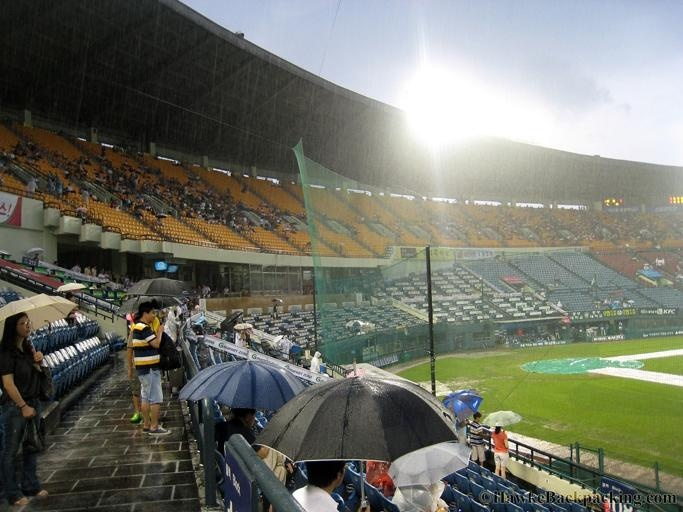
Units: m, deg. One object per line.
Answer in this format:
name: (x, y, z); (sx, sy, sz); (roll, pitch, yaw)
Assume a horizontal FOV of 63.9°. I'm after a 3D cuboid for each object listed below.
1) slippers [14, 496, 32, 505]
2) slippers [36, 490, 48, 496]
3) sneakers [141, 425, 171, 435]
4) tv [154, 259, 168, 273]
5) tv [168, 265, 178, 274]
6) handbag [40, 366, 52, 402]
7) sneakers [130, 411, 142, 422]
slippers: (-4.786, 3.667, 8.197); (0.160, 0.074, 0.082); (-6, -6, 32)
slippers: (-4.589, 3.646, 8.377); (0.063, 0.078, 0.177); (2, 2, 1)
sneakers: (-3.436, 3.247, 10.193); (0.508, 0.235, 0.194); (2, -13, -4)
tv: (-8.660, 0.469, 26.327); (0.770, 0.765, 0.429); (2, -9, -22)
tv: (-8.292, 0.575, 26.691); (0.474, 0.370, 0.487); (1, -6, -26)
handbag: (-4.644, 1.996, 8.606); (0.187, 0.533, 0.192); (1, -6, -26)
sneakers: (-4.097, 3.196, 10.846); (0.216, 0.184, 0.138); (-2, -6, 5)
